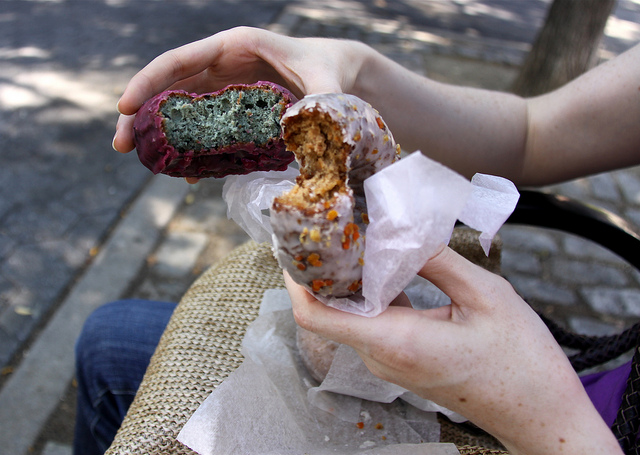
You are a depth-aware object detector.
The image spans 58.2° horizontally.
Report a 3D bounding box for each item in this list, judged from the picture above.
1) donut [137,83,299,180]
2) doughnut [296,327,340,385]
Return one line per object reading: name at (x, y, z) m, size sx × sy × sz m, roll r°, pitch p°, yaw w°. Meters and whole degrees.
donut at (-0.326, -0.325, 1.861) m, size 0.510 × 0.415 × 0.235 m, roll -7°, pitch 97°, yaw -7°
doughnut at (-0.012, 0.393, 1.754) m, size 0.159 × 0.039 × 0.154 m, roll 12°, pitch 68°, yaw -41°
